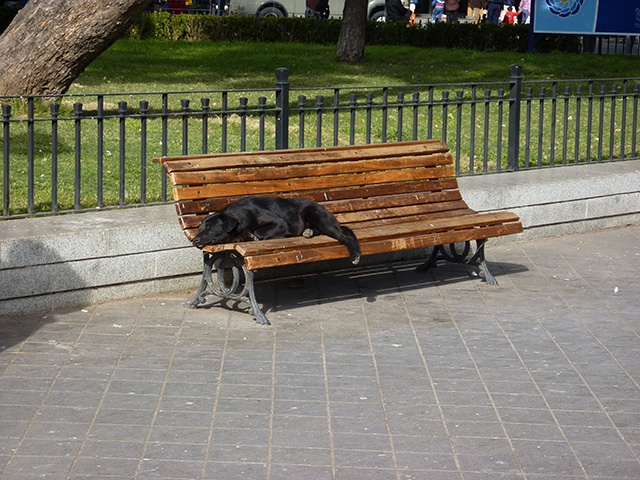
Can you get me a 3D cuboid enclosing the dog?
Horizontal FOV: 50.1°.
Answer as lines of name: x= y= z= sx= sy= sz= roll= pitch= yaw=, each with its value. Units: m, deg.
dog: x=-0.322 y=-0.138 z=5.863 sx=1.581 sy=0.368 sz=0.503 roll=-3 pitch=-2 yaw=-29
